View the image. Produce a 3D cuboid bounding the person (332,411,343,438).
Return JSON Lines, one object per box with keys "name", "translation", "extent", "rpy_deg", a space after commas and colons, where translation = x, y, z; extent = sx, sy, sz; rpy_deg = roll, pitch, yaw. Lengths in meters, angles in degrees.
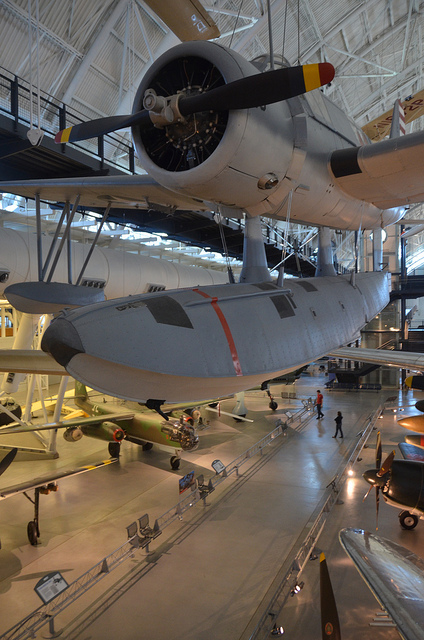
{"name": "person", "translation": [3.543, 2.964, 13.000], "extent": [0.296, 0.721, 0.634], "rpy_deg": [-5, -4, 14]}
